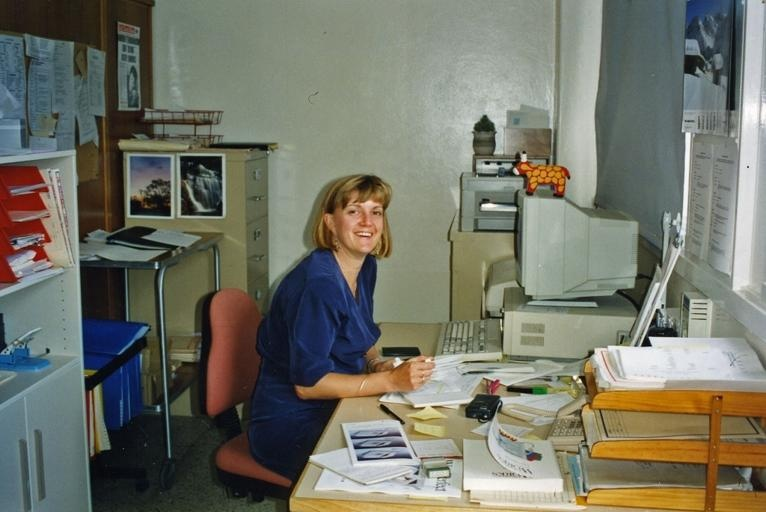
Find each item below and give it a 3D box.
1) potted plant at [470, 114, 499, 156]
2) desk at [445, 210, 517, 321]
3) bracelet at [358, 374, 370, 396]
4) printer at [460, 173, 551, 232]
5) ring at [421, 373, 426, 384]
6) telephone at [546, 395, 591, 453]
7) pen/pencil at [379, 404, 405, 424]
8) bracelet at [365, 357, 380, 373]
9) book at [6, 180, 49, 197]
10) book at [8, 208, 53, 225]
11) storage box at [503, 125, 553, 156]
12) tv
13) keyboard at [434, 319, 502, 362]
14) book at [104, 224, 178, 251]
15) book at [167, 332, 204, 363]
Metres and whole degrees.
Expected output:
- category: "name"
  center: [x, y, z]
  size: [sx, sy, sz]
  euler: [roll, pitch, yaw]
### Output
- category: "potted plant"
  center: [0.687, -0.814, 4.153]
  size: [0.142, 0.274, 0.191]
  euler: [0, 10, 7]
- category: "desk"
  center: [0.629, 0.019, 4.069]
  size: [0.456, 0.773, 0.718]
  euler: [1, 3, 7]
- category: "bracelet"
  center: [-0.062, 0.455, 2.143]
  size: [0.014, 0.077, 0.008]
  euler: [33, -21, -1]
- category: "printer"
  center: [0.681, -0.326, 3.836]
  size: [0.488, 0.337, 0.269]
  euler: [1, 15, -16]
- category: "ring"
  center: [0.142, 0.431, 2.124]
  size: [0.021, 0.027, 0.011]
  euler: [5, -4, -8]
- category: "telephone"
  center: [0.594, 0.513, 1.956]
  size: [0.122, 0.064, 0.197]
  euler: [-10, 21, 22]
- category: "pen/pencil"
  center: [0.025, 0.527, 2.070]
  size: [0.030, 0.019, 0.129]
  euler: [-43, 35, -14]
- category: "bracelet"
  center: [-0.039, 0.431, 2.413]
  size: [0.019, 0.051, 0.050]
  euler: [20, 31, -10]
- category: "book"
  center: [-1.324, -0.243, 2.285]
  size: [0.128, 0.044, 0.166]
  euler: [-5, 10, -23]
- category: "book"
  center: [-1.339, -0.142, 2.285]
  size: [0.100, 0.050, 0.206]
  euler: [1, 10, 10]
- category: "storage box"
  center: [1.011, -0.795, 4.254]
  size: [0.409, 0.254, 0.217]
  euler: [1, 6, 6]
- category: "tv"
  center: [0.826, -0.021, 2.850]
  size: [0.575, 0.432, 0.561]
  euler: [1, 2, 6]
- category: "keyboard"
  center: [0.385, 0.362, 2.649]
  size: [0.292, 0.059, 0.408]
  euler: [-1, 15, 16]
- category: "book"
  center: [-1.398, -0.104, 3.455]
  size: [0.219, 0.053, 0.223]
  euler: [5, 17, 10]
- category: "book"
  center: [-1.139, 0.539, 3.539]
  size: [0.296, 0.093, 0.279]
  euler: [1, 12, -9]
